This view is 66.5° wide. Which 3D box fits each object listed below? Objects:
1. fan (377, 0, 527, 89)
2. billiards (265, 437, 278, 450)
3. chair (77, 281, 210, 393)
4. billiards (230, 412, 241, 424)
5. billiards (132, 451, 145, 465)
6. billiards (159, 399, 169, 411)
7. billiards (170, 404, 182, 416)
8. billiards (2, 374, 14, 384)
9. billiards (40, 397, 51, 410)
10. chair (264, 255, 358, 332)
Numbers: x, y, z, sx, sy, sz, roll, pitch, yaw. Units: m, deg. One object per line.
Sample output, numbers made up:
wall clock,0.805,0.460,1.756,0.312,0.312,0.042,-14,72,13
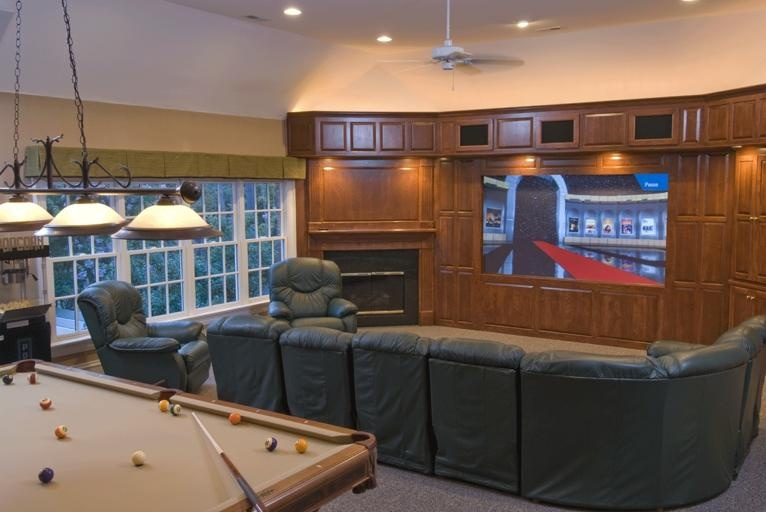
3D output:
fan,0.701,-2.115,6.086,1.405,0.634,1.409,2,4,18
billiards,-0.684,1.156,3.612,0.075,0.069,0.075,-1,15,-38
chair,-2.582,0.864,6.921,1.642,1.366,1.176,3,6,5
billiards,-0.968,1.066,3.810,0.068,0.061,0.060,-12,42,-5
billiards,-1.431,1.183,3.411,0.061,0.063,0.058,4,23,28
billiards,-1.483,1.011,3.952,0.072,0.071,0.066,3,-2,-5
billiards,-1.392,1.035,3.929,0.073,0.067,0.073,-2,-1,18
billiards,-2.835,0.936,4.417,0.086,0.076,0.070,0,4,5
billiards,-2.311,1.022,4.009,0.071,0.058,0.065,-1,-9,-4
chair,-0.959,0.494,7.971,1.274,1.061,1.026,1,-4,-15
